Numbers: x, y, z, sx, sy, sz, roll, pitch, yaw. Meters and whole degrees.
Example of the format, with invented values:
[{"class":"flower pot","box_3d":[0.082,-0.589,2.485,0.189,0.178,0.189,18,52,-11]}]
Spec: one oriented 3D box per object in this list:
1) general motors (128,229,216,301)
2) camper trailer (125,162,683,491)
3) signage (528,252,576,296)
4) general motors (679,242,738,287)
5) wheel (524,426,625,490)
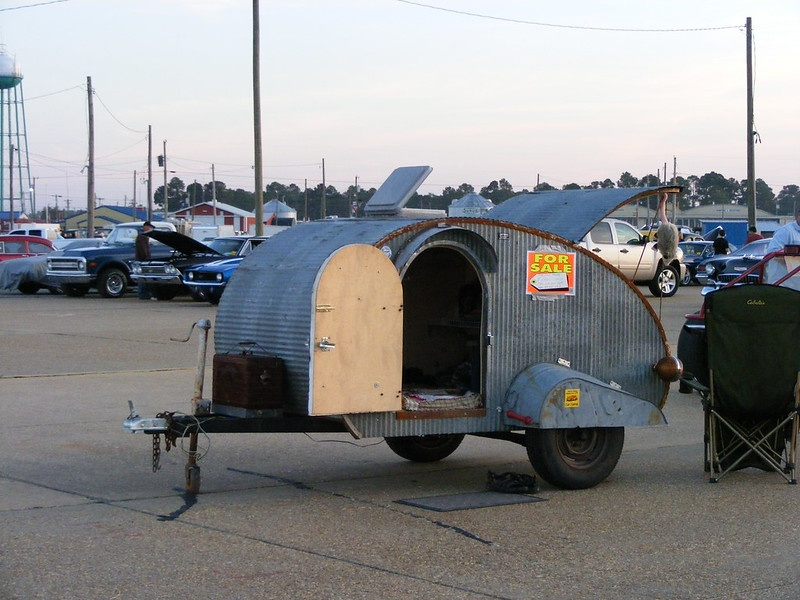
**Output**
[{"class":"general motors","box_3d":[-5.212,-0.787,28.014,1.356,1.002,2.430,0,-1,39]},{"class":"camper trailer","box_3d":[0.232,0.204,11.297,4.993,2.437,3.135,-4,7,-42]},{"class":"signage","box_3d":[1.354,-0.251,10.970,0.062,0.426,0.583,-1,2,-43]},{"class":"general motors","box_3d":[9.221,-1.205,38.096,1.636,1.073,2.849,0,-1,44]},{"class":"wheel","box_3d":[1.513,1.384,10.790,0.653,0.550,0.220,-5,-6,-24]}]
